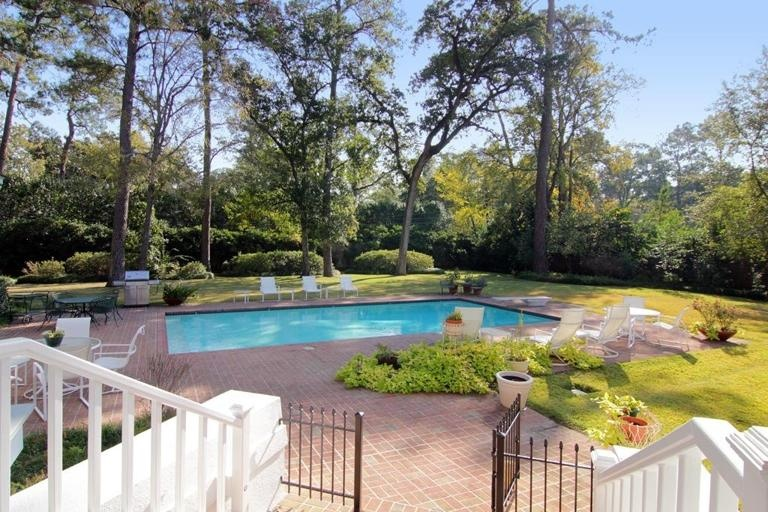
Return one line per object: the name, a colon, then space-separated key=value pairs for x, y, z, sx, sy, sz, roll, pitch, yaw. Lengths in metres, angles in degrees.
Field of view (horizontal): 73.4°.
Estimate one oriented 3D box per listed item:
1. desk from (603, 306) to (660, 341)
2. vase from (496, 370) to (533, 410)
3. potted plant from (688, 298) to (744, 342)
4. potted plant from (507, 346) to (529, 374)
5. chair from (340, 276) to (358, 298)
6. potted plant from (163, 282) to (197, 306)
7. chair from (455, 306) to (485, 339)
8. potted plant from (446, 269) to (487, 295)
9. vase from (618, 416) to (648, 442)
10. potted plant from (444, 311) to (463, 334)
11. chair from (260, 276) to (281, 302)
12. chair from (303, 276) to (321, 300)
desk: x=8.394 y=1.896 z=17.058 sx=1.825 sy=0.922 sz=1.862 roll=5 pitch=13 yaw=34
vase: x=3.056 y=3.215 z=12.378 sx=0.851 sy=0.661 sz=0.869 roll=1 pitch=7 yaw=5
potted plant: x=11.010 y=2.150 z=17.229 sx=1.097 sy=1.503 sz=1.076 roll=4 pitch=0 yaw=-41
potted plant: x=3.516 y=2.747 z=13.651 sx=0.661 sy=0.696 sz=0.524 roll=0 pitch=7 yaw=11
chair: x=-1.677 y=1.378 z=24.568 sx=0.655 sy=0.964 sz=1.038 roll=-1 pitch=1 yaw=-20
potted plant: x=-8.477 y=1.560 z=21.263 sx=1.057 sy=0.851 sz=1.112 roll=4 pitch=0 yaw=-20
chair: x=2.589 y=1.957 z=15.405 sx=0.720 sy=1.369 sz=0.948 roll=0 pitch=-2 yaw=12
potted plant: x=3.897 y=1.370 z=25.546 sx=1.739 sy=1.189 sz=1.532 roll=1 pitch=-2 yaw=0
vase: x=5.132 y=3.602 z=10.801 sx=0.593 sy=0.450 sz=0.575 roll=0 pitch=7 yaw=-6
potted plant: x=2.021 y=1.950 z=14.940 sx=0.609 sy=0.683 sz=0.461 roll=4 pitch=0 yaw=-25
chair: x=-4.989 y=1.437 z=23.022 sx=0.874 sy=1.149 sz=1.105 roll=1 pitch=3 yaw=-28
chair: x=-3.193 y=1.447 z=23.821 sx=0.952 sy=1.360 sz=0.998 roll=0 pitch=1 yaw=-29
